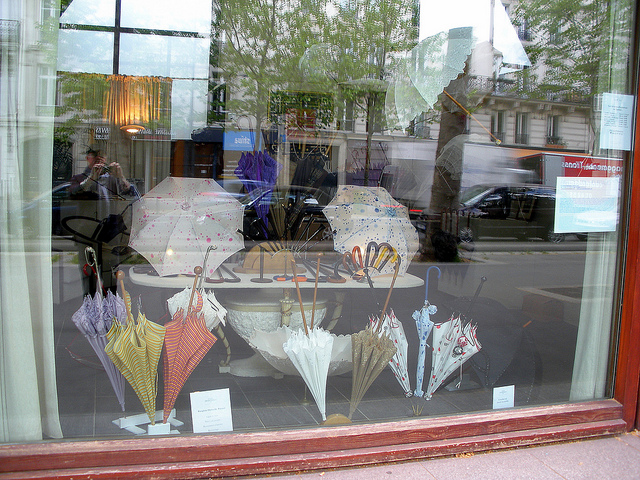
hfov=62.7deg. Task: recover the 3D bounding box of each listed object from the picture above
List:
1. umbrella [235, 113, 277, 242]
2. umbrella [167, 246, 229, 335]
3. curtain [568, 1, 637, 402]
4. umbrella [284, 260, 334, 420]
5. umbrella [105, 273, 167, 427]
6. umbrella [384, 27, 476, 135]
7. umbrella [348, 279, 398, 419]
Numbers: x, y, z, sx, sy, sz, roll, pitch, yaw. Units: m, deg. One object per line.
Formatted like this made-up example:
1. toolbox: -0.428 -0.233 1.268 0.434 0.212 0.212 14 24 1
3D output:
1. umbrella: -0.361 -0.321 2.976 0.208 0.695 0.229 -8 0 -15
2. umbrella: -0.621 0.252 2.682 0.299 0.497 0.329 10 4 -23
3. curtain: 1.462 -0.188 2.697 0.177 2.031 0.325 4 9 31
4. umbrella: -0.046 0.546 2.626 0.231 0.733 0.221 -16 -8 33
5. umbrella: -0.837 0.584 2.402 0.242 0.495 0.121 1 8 7
6. umbrella: 0.687 -1.005 3.343 0.561 0.665 0.254 2 8 17
7. umbrella: 0.230 0.628 2.624 0.270 0.426 0.139 -4 9 -26
